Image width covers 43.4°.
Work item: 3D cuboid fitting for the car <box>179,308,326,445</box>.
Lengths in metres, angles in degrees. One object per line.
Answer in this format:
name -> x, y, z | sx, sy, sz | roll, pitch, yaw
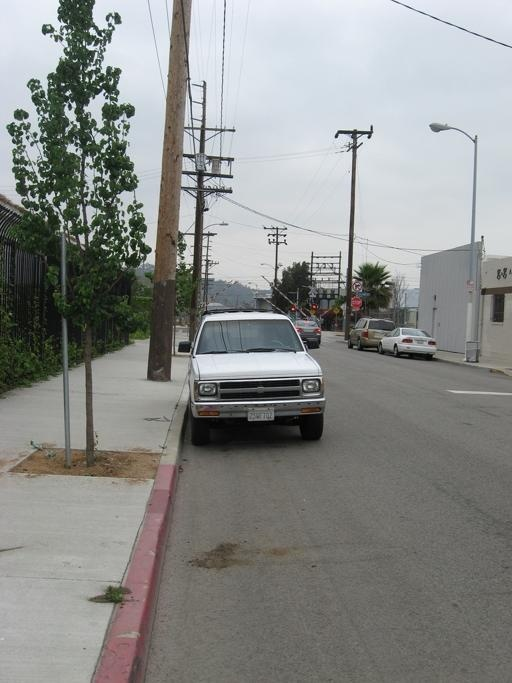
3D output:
car -> -0.109, 0.347, 8.719 | 1.152, 1.149, 2.192 | 0, -3, -7
